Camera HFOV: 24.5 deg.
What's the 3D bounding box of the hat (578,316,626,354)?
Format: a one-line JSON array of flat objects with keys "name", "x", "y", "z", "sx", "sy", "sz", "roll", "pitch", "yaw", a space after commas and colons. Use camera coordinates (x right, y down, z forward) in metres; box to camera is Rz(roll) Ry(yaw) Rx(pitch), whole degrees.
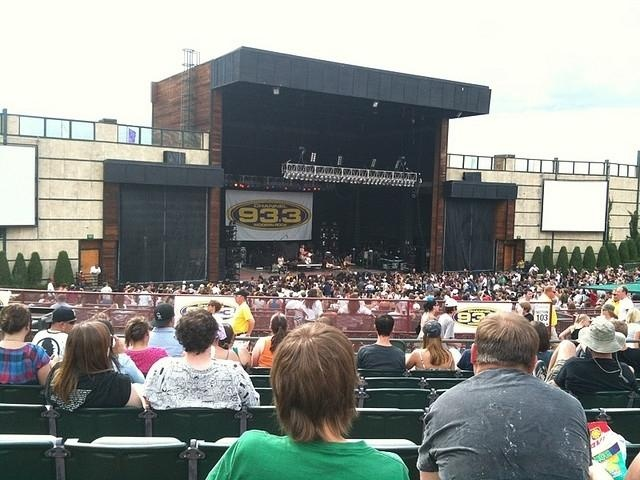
[{"name": "hat", "x": 9.142, "y": 3.143, "z": 48.062, "sx": 1.125, "sy": 0.650, "sz": 1.215, "roll": -8, "pitch": 26, "yaw": 9}]
